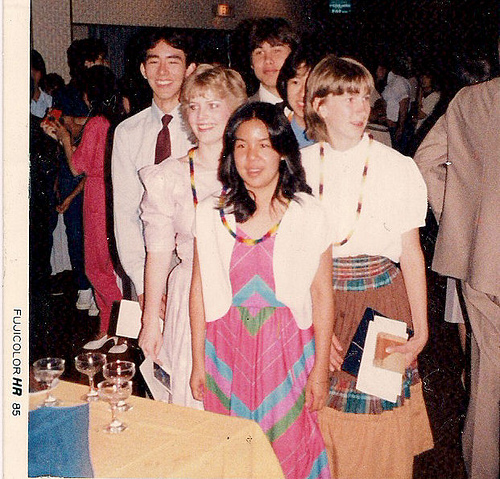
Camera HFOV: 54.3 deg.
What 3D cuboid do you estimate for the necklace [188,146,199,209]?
[{"bbox_3d":[-0.186,-0.209,1.608,0.031,0.199,0.061,-2,5,-7],"label":"necklace"}]

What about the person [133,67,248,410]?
[{"bbox_3d":[-0.147,0.186,1.781,0.415,1.567,0.285,-5,19,-15],"label":"person"}]

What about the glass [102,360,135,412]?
[{"bbox_3d":[-0.359,0.392,1.309,0.086,0.129,0.100,0,-2,6],"label":"glass"}]

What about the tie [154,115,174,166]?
[{"bbox_3d":[-0.305,-0.342,1.713,0.056,0.235,0.022,5,-35,-15],"label":"tie"}]

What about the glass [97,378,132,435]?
[{"bbox_3d":[-0.331,0.422,1.222,0.083,0.161,0.094,0,-10,-5],"label":"glass"}]

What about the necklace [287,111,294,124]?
[{"bbox_3d":[0.127,-0.391,1.547,0.012,0.056,0.054,12,9,1],"label":"necklace"}]

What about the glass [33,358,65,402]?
[{"bbox_3d":[-0.540,0.368,1.310,0.084,0.126,0.094,0,-1,5],"label":"glass"}]

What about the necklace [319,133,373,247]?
[{"bbox_3d":[0.310,-0.159,1.586,0.169,0.361,0.033,-1,5,0],"label":"necklace"}]

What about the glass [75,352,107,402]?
[{"bbox_3d":[-0.438,0.358,1.366,0.092,0.165,0.095,-5,11,-26],"label":"glass"}]
